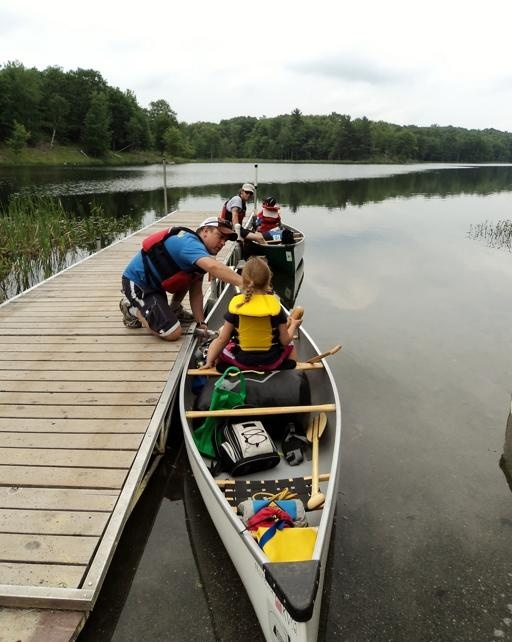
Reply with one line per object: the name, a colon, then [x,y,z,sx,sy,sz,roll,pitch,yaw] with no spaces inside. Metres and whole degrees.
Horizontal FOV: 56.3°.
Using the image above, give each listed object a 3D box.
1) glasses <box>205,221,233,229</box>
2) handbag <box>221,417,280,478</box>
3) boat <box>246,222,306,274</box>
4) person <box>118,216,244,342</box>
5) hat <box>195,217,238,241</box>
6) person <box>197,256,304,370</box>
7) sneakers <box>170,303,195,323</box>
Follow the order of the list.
glasses: [-0.286,-0.702,3.453,0.121,0.049,0.096,1,27,12]
handbag: [-0.053,0.635,2.484,0.222,0.127,0.300,-6,38,-15]
boat: [0.304,-1.225,7.696,0.478,0.483,1.627,-15,22,-8]
person: [-0.522,-0.336,3.702,0.975,0.984,0.637,9,16,13]
hat: [-0.283,-0.680,3.492,0.262,0.144,0.165,13,5,12]
person: [0.019,-0.049,3.119,0.530,0.673,0.900,1,2,12]
sneakers: [-0.642,-0.064,4.183,0.232,0.110,0.090,14,34,-14]
